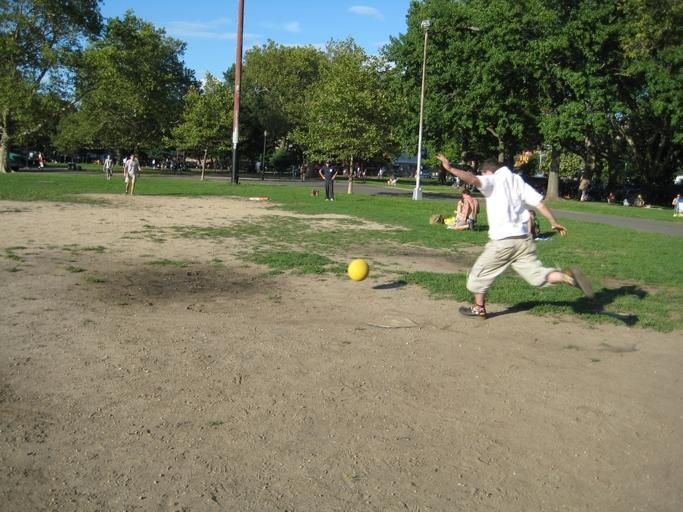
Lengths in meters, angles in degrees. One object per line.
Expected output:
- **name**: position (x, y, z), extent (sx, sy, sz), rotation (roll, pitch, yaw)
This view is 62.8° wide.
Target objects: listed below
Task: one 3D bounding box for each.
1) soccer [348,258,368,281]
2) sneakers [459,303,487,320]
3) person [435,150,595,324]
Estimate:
- **soccer**: position (0.275, 0.248, 9.243), extent (0.303, 0.395, 0.431), rotation (2, 11, -2)
- **sneakers**: position (1.887, 0.770, 7.938), extent (0.396, 0.198, 0.176), rotation (7, 8, 32)
- **person**: position (2.328, -0.195, 7.642), extent (1.539, 2.171, 0.909), rotation (4, 11, 10)
